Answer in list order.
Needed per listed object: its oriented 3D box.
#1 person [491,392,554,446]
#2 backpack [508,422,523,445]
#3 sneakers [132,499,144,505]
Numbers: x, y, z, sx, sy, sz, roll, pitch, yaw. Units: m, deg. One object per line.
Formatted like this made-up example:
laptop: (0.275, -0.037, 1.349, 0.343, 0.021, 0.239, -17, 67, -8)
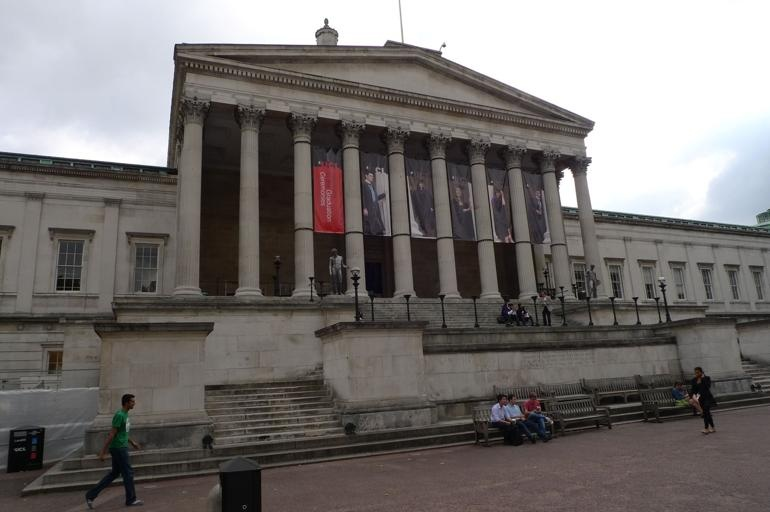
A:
person: (4.366, 5.267, 17.961, 1.386, 1.073, 1.783, 8, -9, -43)
backpack: (4.198, 5.644, 17.784, 0.492, 0.686, 0.283, -1, -13, -16)
sneakers: (-6.053, 5.982, 13.541, 0.279, 0.110, 0.092, -5, -12, 8)
